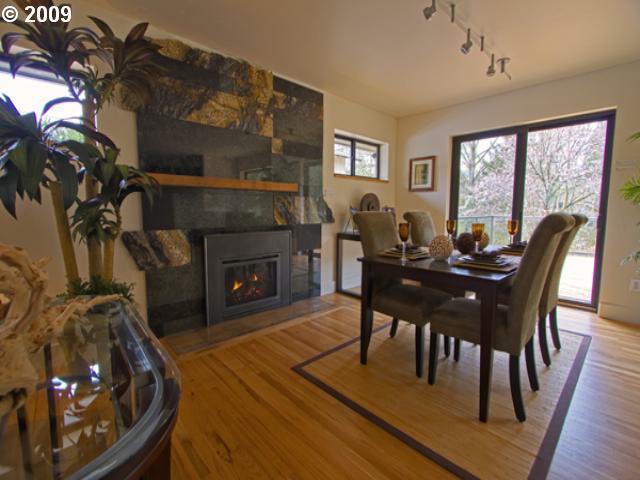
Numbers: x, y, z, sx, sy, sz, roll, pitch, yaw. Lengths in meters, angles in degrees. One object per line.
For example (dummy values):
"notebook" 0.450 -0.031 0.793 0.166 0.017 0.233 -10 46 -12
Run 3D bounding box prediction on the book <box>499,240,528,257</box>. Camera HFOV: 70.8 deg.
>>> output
"book" 1.709 0.073 3.917 0.194 0.061 0.141 -7 9 -42

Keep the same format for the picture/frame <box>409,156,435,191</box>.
"picture/frame" 1.398 -0.899 6.086 0.040 0.579 0.461 0 2 -38
